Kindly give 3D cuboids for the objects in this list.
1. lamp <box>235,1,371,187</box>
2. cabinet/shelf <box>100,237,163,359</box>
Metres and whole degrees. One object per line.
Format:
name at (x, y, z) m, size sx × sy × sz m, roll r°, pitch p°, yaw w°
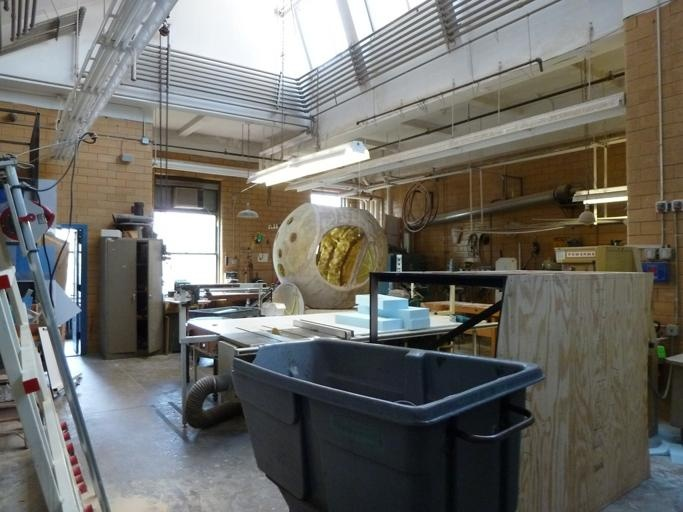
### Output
lamp at (-0.478, -2.561, 8.165) m, size 1.715 × 2.840 × 4.502 m, roll -1°, pitch 5°, yaw 2°
cabinet/shelf at (-3.275, 0.625, 8.224) m, size 0.988 × 1.849 × 0.544 m, roll -3°, pitch 5°, yaw -22°
